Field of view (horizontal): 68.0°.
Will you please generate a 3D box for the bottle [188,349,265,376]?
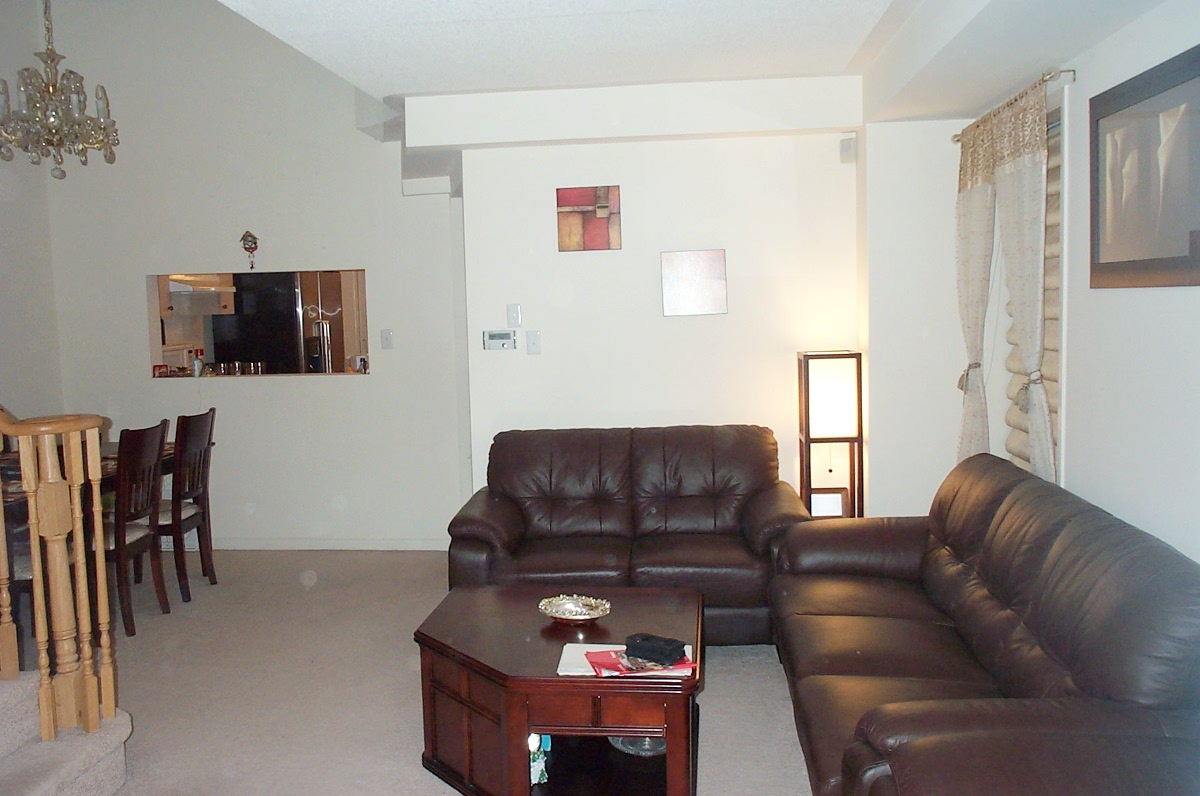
[{"bbox_3d":[-2.861,-0.234,6.756,0.388,0.145,0.276,0,3,-5],"label":"bottle"}]
